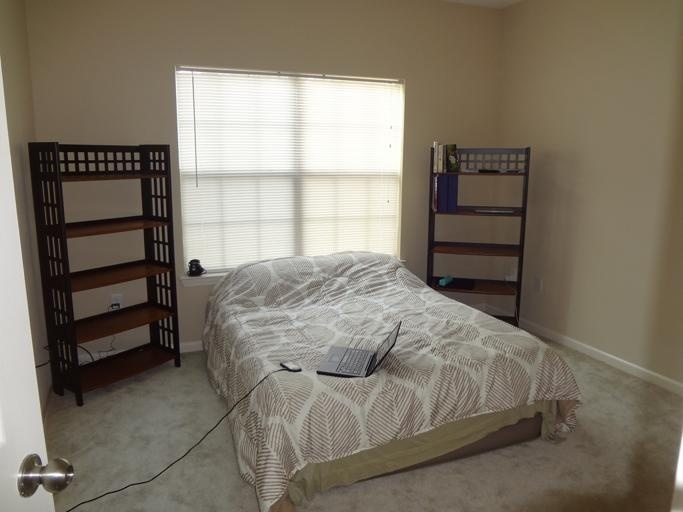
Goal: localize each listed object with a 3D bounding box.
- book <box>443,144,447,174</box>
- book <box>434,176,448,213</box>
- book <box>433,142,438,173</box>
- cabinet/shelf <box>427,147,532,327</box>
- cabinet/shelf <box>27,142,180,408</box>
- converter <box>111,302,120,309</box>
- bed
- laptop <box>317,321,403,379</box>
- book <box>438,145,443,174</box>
[{"bbox_3d":[0.910,-0.861,4.278,0.031,0.224,0.053,0,13,6],"label":"book"},{"bbox_3d":[0.880,-0.558,4.299,0.148,0.264,0.270,0,12,3],"label":"book"},{"bbox_3d":[0.827,-0.862,4.269,0.051,0.253,0.044,3,14,18],"label":"book"},{"bbox_3d":[1.247,-0.013,4.467,0.902,1.776,0.380,8,-6,45],"label":"cabinet/shelf"},{"bbox_3d":[-1.706,0.048,3.568,0.659,1.746,0.986,10,18,41],"label":"cabinet/shelf"},{"bbox_3d":[-1.758,0.386,3.773,0.044,0.045,0.011,0,-15,-14],"label":"converter"},{"bbox_3d":[0.142,0.596,3.327,1.954,0.851,1.934,-7,14,-22],"label":"bed"},{"bbox_3d":[0.080,0.479,2.687,0.304,0.184,0.310,3,10,8],"label":"laptop"},{"bbox_3d":[0.869,-0.864,4.262,0.043,0.186,0.182,5,5,12],"label":"book"}]
